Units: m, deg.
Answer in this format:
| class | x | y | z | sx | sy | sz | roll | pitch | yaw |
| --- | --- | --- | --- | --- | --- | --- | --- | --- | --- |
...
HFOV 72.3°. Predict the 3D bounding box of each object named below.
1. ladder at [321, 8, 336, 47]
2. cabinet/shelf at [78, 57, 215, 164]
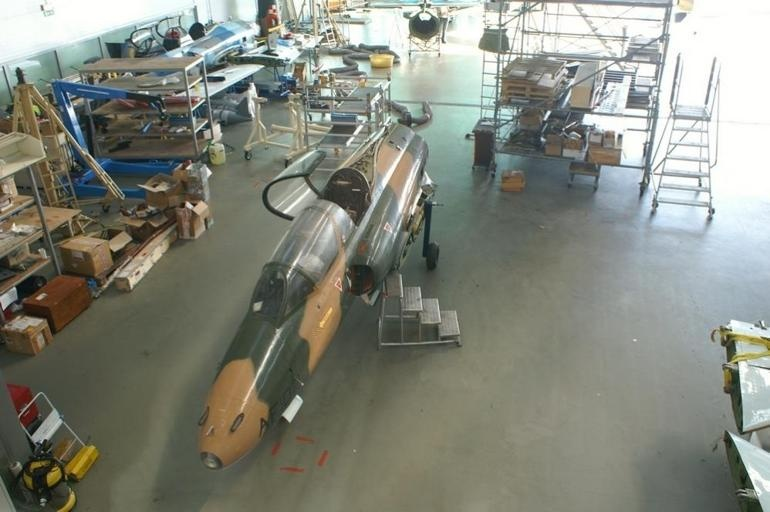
| class | x | y | z | sx | sy | sz | roll | pitch | yaw |
| --- | --- | --- | --- | --- | --- | --- | --- | --- | --- |
| ladder | -2.340 | -9.527 | 21.828 | 0.628 | 1.476 | 2.420 | -4 | 28 | -5 |
| cabinet/shelf | -5.624 | -3.315 | 12.231 | 2.423 | 2.332 | 1.793 | 3 | 34 | 11 |
